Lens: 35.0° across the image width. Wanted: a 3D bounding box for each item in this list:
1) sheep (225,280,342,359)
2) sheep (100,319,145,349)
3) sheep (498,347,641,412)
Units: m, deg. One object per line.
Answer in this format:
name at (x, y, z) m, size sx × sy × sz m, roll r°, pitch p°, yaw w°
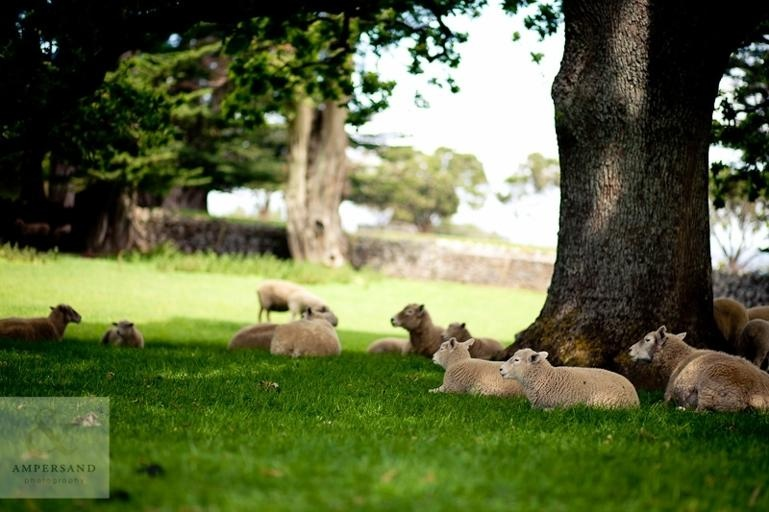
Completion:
sheep at (-1.626, 1.600, 26.799) m, size 3.019 × 1.649 × 0.997 m, roll -3°, pitch 4°, yaw -30°
sheep at (-5.729, 1.791, 26.661) m, size 0.520 × 0.560 × 0.946 m, roll 1°, pitch -4°, yaw -7°
sheep at (3.547, 2.406, 23.159) m, size 2.295 × 1.279 × 1.047 m, roll 6°, pitch -4°, yaw 9°
